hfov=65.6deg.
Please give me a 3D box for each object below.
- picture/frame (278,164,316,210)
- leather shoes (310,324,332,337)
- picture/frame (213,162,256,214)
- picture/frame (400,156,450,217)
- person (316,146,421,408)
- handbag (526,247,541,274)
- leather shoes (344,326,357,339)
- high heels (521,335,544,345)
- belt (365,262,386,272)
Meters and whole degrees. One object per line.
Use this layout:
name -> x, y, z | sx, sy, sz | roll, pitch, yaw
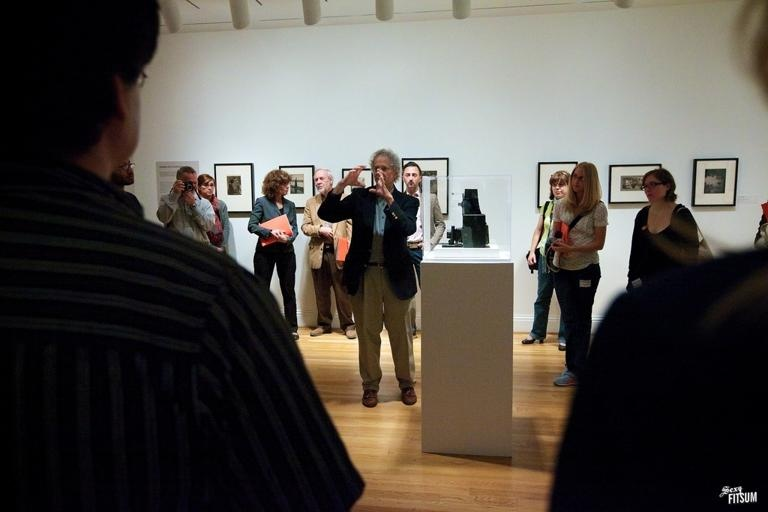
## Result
picture/frame -> -0.948, -0.762, 6.397 | 0.352, 0.445, 0.016 | 0, -21, -12
leather shoes -> -0.671, 0.770, 6.269 | 0.086, 0.121, 0.277 | -1, -13, 25
picture/frame -> -1.649, -0.758, 6.526 | 0.400, 0.554, 0.024 | -3, 27, -17
picture/frame -> 0.378, -0.710, 6.241 | 0.574, 0.797, 0.024 | 1, 46, 0
person -> -0.106, 0.132, 3.964 | 0.580, 1.661, 0.539 | 0, 2, -2
handbag -> 1.425, 0.041, 5.722 | 0.083, 0.218, 0.166 | 15, 19, 35
leather shoes -> -0.346, 0.771, 6.048 | 0.106, 0.134, 0.328 | -1, -9, -6
high heels -> 1.406, 0.799, 5.718 | 0.248, 0.122, 0.087 | 5, 2, -3
belt -> -0.062, 0.059, 3.924 | 0.135, 0.054, 0.010 | 2, 6, 23
